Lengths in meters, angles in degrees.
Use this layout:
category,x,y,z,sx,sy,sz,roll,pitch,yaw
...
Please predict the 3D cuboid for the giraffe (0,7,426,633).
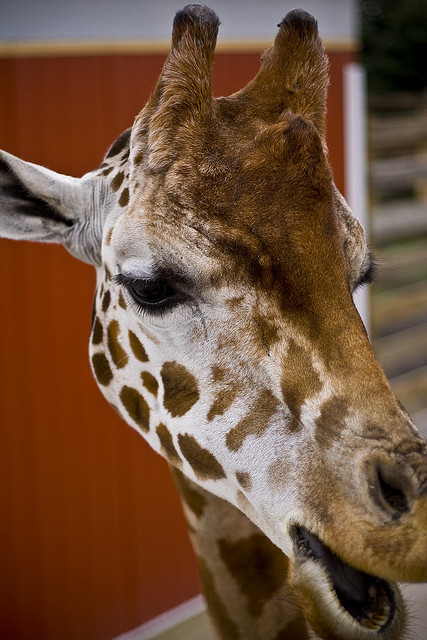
category,x,y,z,sx,sy,sz,roll,pitch,yaw
giraffe,0.055,-0.077,2.655,1.423,1.896,0.517,0,-6,42
